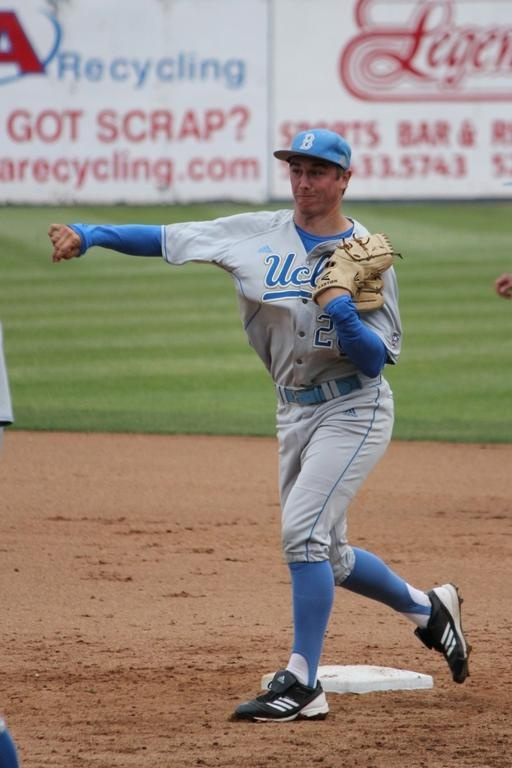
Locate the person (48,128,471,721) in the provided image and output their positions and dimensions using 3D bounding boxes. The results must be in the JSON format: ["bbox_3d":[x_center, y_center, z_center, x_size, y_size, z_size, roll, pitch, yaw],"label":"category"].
[{"bbox_3d":[0.121,0.124,4.199,1.240,1.944,0.751,1,12,8],"label":"person"}]

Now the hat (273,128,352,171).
[{"bbox_3d":[0.198,-0.797,4.196,0.247,0.136,0.254,-1,11,-6],"label":"hat"}]

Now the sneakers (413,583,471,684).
[{"bbox_3d":[0.696,0.882,4.453,0.209,0.366,0.137,-16,-10,-16],"label":"sneakers"}]

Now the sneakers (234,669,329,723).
[{"bbox_3d":[0.092,1.039,4.127,0.369,0.153,0.125,1,-2,-16],"label":"sneakers"}]
